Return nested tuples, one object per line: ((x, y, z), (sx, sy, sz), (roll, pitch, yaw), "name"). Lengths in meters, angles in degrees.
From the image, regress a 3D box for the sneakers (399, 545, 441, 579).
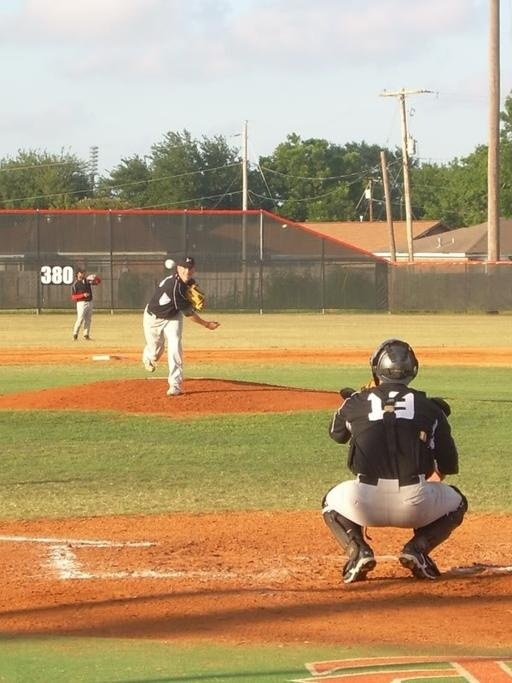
((0.849, 1.175, 7.750), (0.116, 0.128, 0.266), (-19, -55, 42), "sneakers")

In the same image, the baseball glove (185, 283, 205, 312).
((-0.568, -0.408, 14.480), (0.125, 0.242, 0.180), (-22, 28, -5), "baseball glove")

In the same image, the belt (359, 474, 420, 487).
((0.673, 0.705, 7.557), (0.315, 0.053, 0.038), (1, 5, 15), "belt")

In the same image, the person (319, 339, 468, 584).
((0.720, 0.626, 7.808), (0.687, 1.283, 0.702), (-1, -5, 15), "person")

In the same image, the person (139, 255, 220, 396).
((-0.809, -0.161, 14.672), (0.564, 1.335, 0.840), (-1, 5, -15), "person")

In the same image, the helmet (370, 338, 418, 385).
((0.721, 0.154, 7.758), (0.235, 0.304, 0.300), (0, 14, -6), "helmet")
